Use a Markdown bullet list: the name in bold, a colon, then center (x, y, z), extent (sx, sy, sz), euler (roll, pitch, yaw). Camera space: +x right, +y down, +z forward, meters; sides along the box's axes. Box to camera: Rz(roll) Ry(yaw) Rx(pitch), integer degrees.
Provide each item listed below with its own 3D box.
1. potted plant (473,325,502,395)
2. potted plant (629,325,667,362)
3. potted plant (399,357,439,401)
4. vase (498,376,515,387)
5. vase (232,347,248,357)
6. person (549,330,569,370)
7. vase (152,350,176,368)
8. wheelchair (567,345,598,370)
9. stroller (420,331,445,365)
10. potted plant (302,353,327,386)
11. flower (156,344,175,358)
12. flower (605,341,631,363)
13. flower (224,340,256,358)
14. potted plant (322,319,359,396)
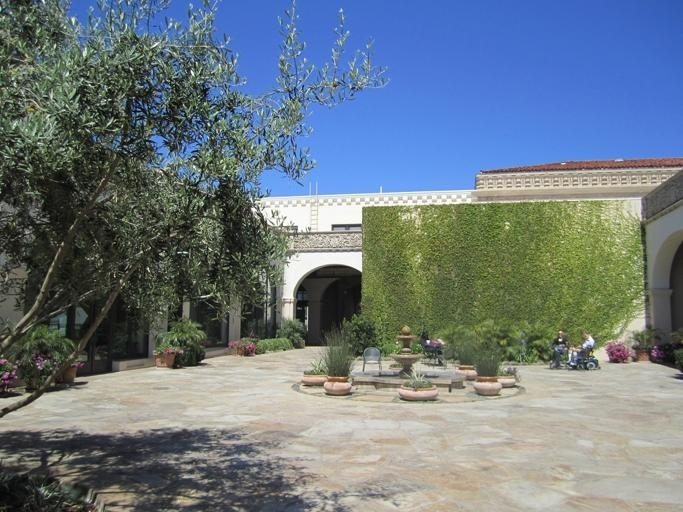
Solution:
- **potted plant**: center (3.655, 2.835, 12.793), extent (0.632, 1.072, 1.294), euler (-1, -5, 17)
- **potted plant**: center (11.971, 3.445, 19.998), extent (1.118, 1.186, 1.139), euler (-6, -9, 39)
- **potted plant**: center (1.753, 2.929, 11.899), extent (0.682, 0.587, 0.707), euler (0, -8, 0)
- **vase**: center (4.350, 3.302, 13.560), extent (0.415, 0.240, 0.414), euler (7, -11, -38)
- **vase**: center (-4.460, 4.145, 22.839), extent (0.556, 0.587, 0.238), euler (-13, 5, 12)
- **person**: center (7.999, 3.373, 18.843), extent (0.578, 1.293, 1.836), euler (-1, -5, 24)
- **vase**: center (-5.983, 3.468, 17.371), extent (0.624, 0.472, 0.648), euler (0, -14, -3)
- **wheelchair**: center (8.503, 3.565, 18.164), extent (0.825, 0.684, 0.755), euler (-1, -4, 12)
- **stroller**: center (2.934, 2.947, 16.522), extent (0.865, 0.924, 0.769), euler (2, 0, 35)
- **potted plant**: center (-0.689, 3.071, 13.742), extent (0.850, 0.786, 0.882), euler (1, -9, 0)
- **flower**: center (-5.930, 3.262, 17.363), extent (0.433, 0.504, 0.493), euler (-3, -5, 23)
- **flower**: center (10.820, 3.644, 20.075), extent (0.725, 0.903, 0.862), euler (-4, 1, 2)
- **flower**: center (-4.349, 4.059, 22.771), extent (0.914, 0.511, 0.931), euler (-2, -8, 16)
- **potted plant**: center (0.283, 2.562, 12.832), extent (0.930, 1.762, 0.922), euler (-2, -11, 25)
